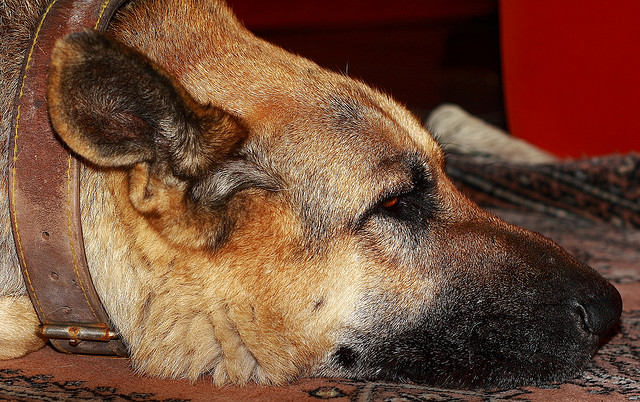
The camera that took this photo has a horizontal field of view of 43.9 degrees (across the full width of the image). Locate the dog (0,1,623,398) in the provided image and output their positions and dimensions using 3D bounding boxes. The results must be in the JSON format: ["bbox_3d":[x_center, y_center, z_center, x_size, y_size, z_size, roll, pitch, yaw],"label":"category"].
[{"bbox_3d":[-0.124,-0.025,3.921,2.828,1.086,1.805,2,13,12],"label":"dog"}]
